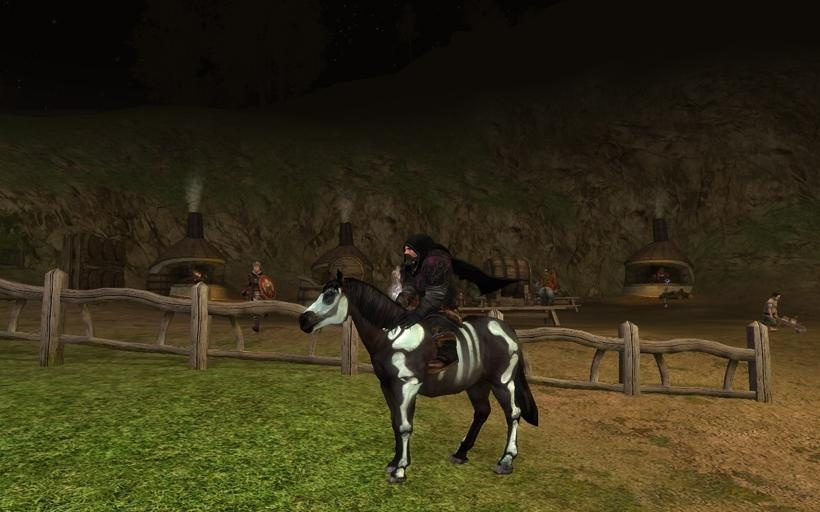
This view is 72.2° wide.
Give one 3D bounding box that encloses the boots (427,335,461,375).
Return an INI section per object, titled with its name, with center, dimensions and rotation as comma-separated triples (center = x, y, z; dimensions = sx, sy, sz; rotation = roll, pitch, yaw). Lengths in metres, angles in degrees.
[boots]
center = 0.475, 1.444, 8.335
dimensions = 0.597, 0.455, 0.398
rotation = 3, -6, -1
